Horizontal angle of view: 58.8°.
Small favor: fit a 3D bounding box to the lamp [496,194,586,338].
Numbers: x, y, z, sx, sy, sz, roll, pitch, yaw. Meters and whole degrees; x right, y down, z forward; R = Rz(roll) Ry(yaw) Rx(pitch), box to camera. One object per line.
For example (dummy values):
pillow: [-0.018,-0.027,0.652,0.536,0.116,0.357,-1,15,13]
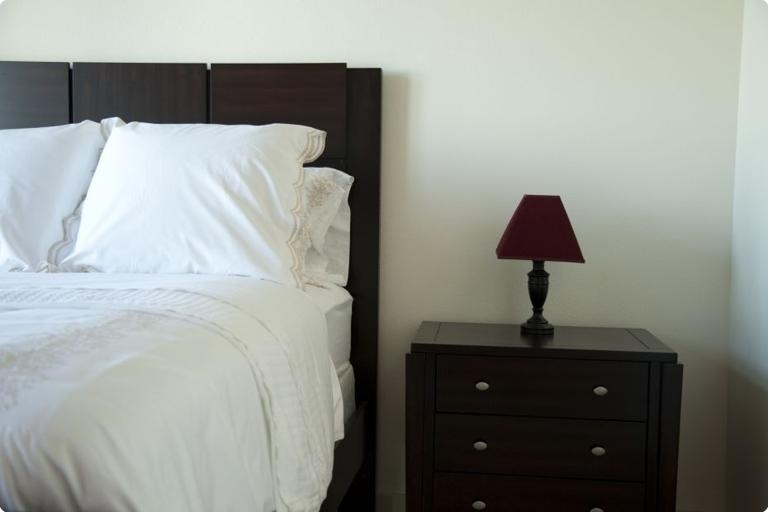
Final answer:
lamp: [0.614,0.037,2.729,0.277,0.554,0.231,-4,11,-23]
